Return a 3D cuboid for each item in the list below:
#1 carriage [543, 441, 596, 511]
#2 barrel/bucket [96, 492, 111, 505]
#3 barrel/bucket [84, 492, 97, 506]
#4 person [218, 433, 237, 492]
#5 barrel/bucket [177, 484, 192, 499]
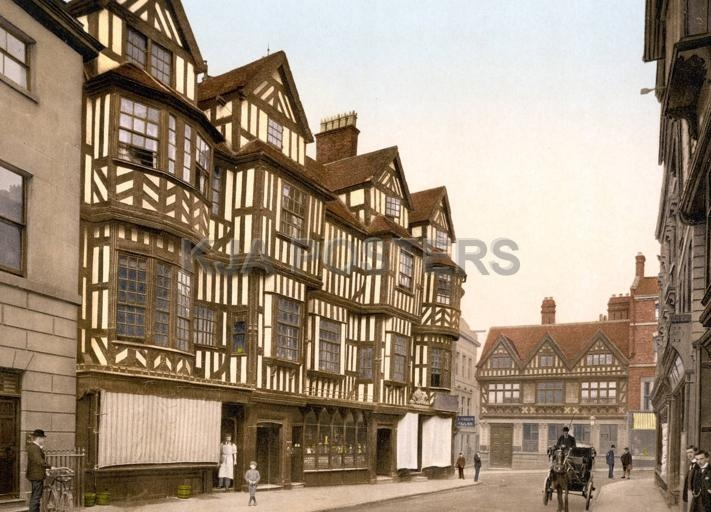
[{"bbox_3d":[7.355,7.663,51.960,1.267,1.842,2.784,-5,-30,22],"label":"carriage"},{"bbox_3d":[-8.372,8.039,48.969,0.367,0.300,0.389,0,-11,0],"label":"barrel/bucket"},{"bbox_3d":[-8.741,7.996,48.596,0.517,0.500,0.278,10,-20,-29],"label":"barrel/bucket"},{"bbox_3d":[-4.646,7.451,53.529,0.673,1.965,1.088,1,-17,-5],"label":"person"},{"bbox_3d":[-5.946,8.178,51.262,0.384,0.448,0.426,0,-2,-13],"label":"barrel/bucket"}]
